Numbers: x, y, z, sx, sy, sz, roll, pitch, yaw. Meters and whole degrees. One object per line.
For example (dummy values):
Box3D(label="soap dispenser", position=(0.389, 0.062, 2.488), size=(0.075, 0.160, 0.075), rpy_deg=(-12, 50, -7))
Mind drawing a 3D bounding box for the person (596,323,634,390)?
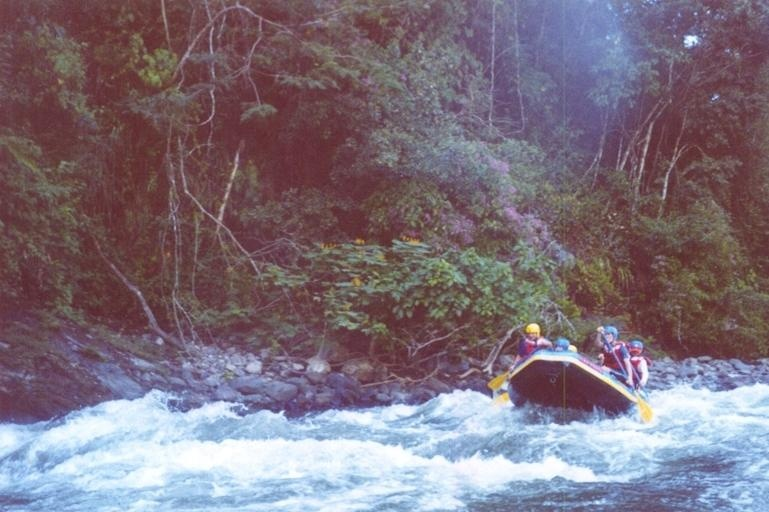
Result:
Box3D(label="person", position=(4.307, 1.802, 13.406), size=(0.385, 1.019, 0.671), rpy_deg=(-4, -7, -18))

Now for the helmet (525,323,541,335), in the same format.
Box3D(label="helmet", position=(2.651, 1.309, 13.238), size=(0.226, 0.245, 0.209), rpy_deg=(1, 3, 22))

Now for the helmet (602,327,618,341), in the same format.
Box3D(label="helmet", position=(4.109, 1.433, 13.536), size=(0.209, 0.275, 0.216), rpy_deg=(9, -16, -15))

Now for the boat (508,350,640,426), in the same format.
Box3D(label="boat", position=(3.319, 2.256, 12.598), size=(1.861, 0.635, 1.078), rpy_deg=(36, -14, -28))

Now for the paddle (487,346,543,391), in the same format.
Box3D(label="paddle", position=(2.324, 2.055, 13.236), size=(1.124, 0.164, 0.262), rpy_deg=(-37, 18, -14))

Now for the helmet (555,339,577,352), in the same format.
Box3D(label="helmet", position=(3.215, 1.606, 13.188), size=(0.335, 0.215, 0.214), rpy_deg=(15, 15, -14))

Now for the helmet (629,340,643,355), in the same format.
Box3D(label="helmet", position=(4.578, 1.654, 13.373), size=(0.247, 0.263, 0.230), rpy_deg=(15, -5, 9))
